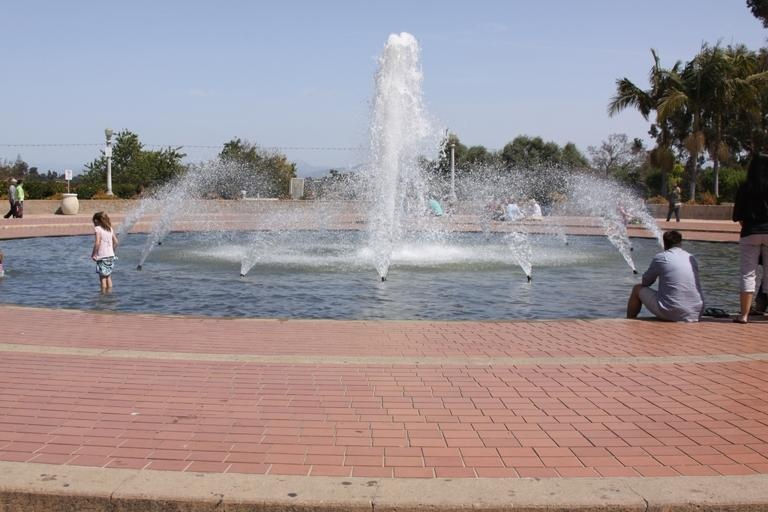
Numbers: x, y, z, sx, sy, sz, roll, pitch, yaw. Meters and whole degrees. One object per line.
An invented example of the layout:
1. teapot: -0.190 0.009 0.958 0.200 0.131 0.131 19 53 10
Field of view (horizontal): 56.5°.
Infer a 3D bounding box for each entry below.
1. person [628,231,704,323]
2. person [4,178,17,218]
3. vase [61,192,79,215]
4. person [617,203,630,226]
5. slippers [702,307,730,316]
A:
1. person: 4.333 0.390 10.816 1.290 1.472 1.341 0 2 26
2. person: -16.884 -2.578 32.295 0.618 1.726 1.022 -6 14 -24
3. vase: -16.103 -2.606 36.725 0.725 0.999 0.875 -7 14 -29
4. person: 10.788 -1.800 31.835 0.482 1.137 3.081 5 12 19
5. slippers: 5.086 0.862 11.006 0.219 0.089 0.368 0 -2 2
